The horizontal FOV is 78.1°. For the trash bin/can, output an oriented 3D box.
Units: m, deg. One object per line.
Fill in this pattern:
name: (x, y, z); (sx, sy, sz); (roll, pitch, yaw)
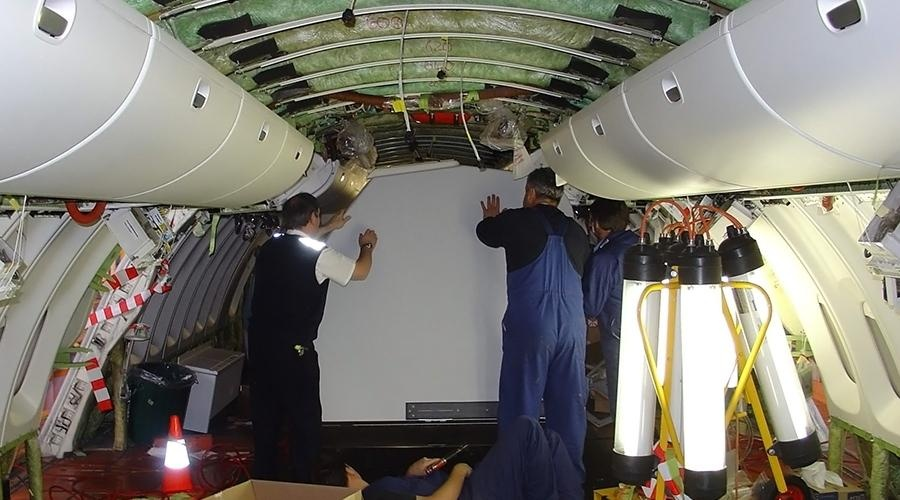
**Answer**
trash bin/can: (-3.863, 2.030, 7.354); (0.819, 1.072, 0.503); (10, -23, -29)
